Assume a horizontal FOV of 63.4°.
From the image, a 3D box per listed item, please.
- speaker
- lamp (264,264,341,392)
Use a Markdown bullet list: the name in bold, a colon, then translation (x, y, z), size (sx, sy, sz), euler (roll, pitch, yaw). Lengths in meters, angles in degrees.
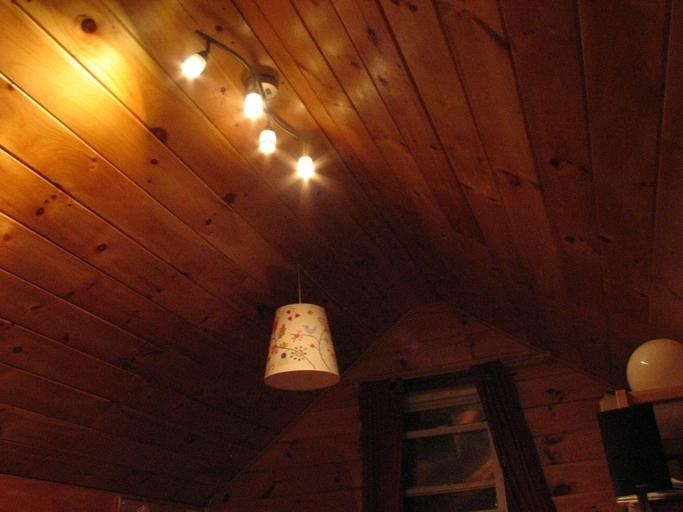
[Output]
- **speaker**: translation (1.177, 0.775, 2.198), size (0.271, 0.392, 0.099), euler (-15, -22, 18)
- **lamp**: translation (-0.210, 0.305, 2.811), size (0.312, 0.674, 0.311), euler (18, -35, -36)
